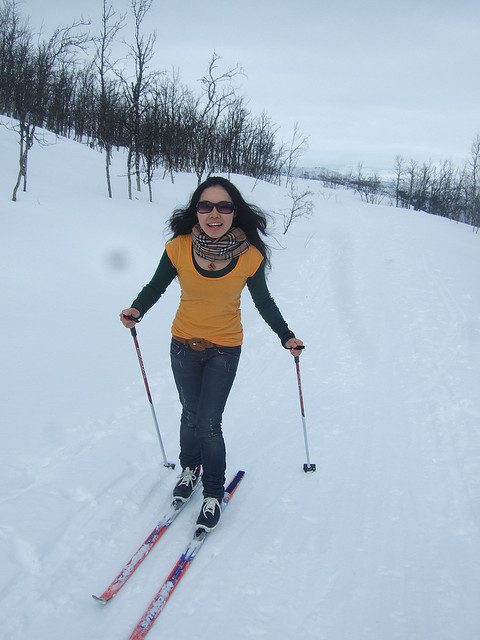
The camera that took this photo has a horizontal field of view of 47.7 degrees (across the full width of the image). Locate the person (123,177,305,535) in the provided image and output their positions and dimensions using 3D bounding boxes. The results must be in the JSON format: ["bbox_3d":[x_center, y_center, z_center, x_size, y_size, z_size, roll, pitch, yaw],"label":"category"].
[{"bbox_3d":[-0.163,0.211,3.201,0.707,2.022,0.645,16,19,42],"label":"person"}]

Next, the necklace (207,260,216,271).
[{"bbox_3d":[-0.151,-0.281,2.863,0.039,0.045,0.034,0,-9,-20],"label":"necklace"}]

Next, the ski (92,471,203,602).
[{"bbox_3d":[-0.495,1.230,3.238,0.116,0.093,1.156,17,14,7],"label":"ski"}]
